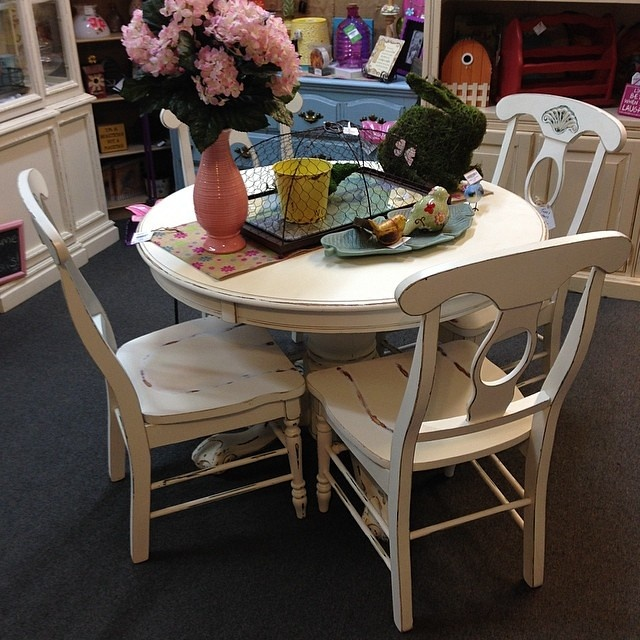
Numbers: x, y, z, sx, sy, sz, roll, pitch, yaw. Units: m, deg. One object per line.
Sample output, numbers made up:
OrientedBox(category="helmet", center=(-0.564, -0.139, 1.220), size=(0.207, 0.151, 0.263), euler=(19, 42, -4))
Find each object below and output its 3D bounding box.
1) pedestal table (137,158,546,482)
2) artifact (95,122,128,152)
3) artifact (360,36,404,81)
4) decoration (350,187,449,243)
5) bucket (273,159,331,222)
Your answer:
OrientedBox(category="pedestal table", center=(0.010, -0.082, 1.618), size=(0.973, 0.589, 0.890), euler=(-8, 40, -7))
OrientedBox(category="artifact", center=(-1.305, -1.146, 3.525), size=(0.194, 0.176, 0.045), euler=(-9, 21, -39))
OrientedBox(category="artifact", center=(0.366, -1.422, 3.107), size=(0.268, 0.249, 0.072), euler=(18, -3, 37))
OrientedBox(category="decoration", center=(0.163, -0.247, 1.401), size=(0.292, 0.122, 0.112), euler=(-15, 33, -13))
OrientedBox(category="bucket", center=(-0.024, -0.342, 1.516), size=(0.173, 0.129, 0.177), euler=(0, 26, 0))
